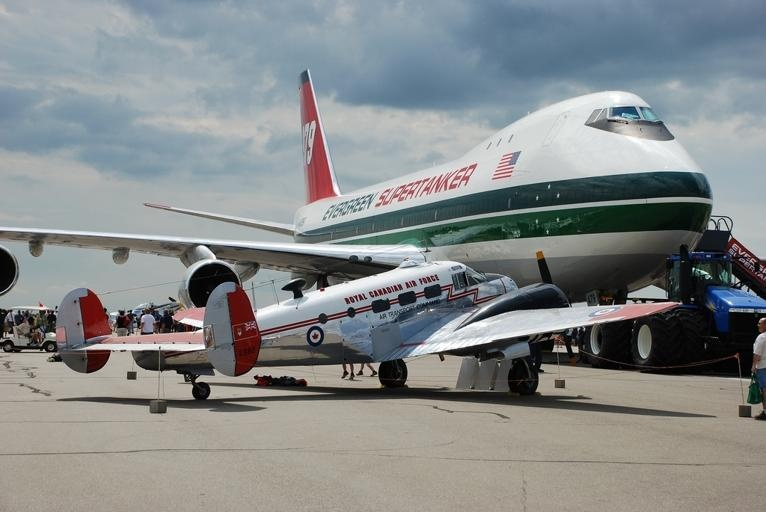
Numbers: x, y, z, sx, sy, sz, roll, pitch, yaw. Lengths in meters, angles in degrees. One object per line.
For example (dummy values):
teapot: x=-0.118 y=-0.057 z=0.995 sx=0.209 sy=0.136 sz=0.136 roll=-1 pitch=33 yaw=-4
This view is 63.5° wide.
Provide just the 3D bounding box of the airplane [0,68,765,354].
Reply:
airplane: x=2.562 y=-0.150 z=16.498 sx=13.726 sy=3.314 sz=9.780 roll=-2 pitch=2 yaw=-36
